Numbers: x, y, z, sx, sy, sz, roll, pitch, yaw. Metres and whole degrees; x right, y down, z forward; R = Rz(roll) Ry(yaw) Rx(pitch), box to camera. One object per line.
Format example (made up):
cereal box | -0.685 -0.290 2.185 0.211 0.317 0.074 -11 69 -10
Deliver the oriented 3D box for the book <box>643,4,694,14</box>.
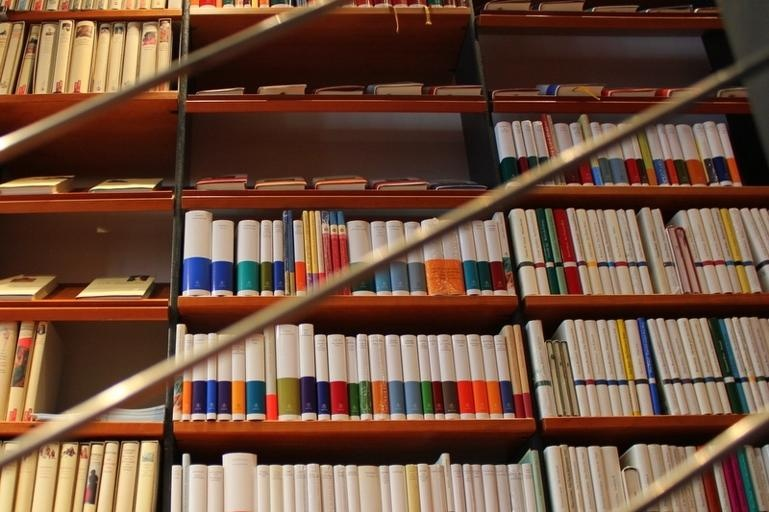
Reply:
book | 1.153 -0.994 2.717 0.147 0.031 0.142 0 9 6

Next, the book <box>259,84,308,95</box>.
book | -0.362 -0.599 2.427 0.128 0.028 0.123 -3 6 -24

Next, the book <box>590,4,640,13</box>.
book | 0.924 -0.984 2.694 0.130 0.028 0.124 0 10 5

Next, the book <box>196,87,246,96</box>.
book | -0.600 -0.602 2.462 0.121 0.026 0.115 -1 9 -4

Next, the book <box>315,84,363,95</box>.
book | -0.169 -0.605 2.456 0.128 0.028 0.124 0 10 7

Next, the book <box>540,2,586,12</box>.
book | 0.689 -0.966 2.608 0.087 0.019 0.083 0 4 -1
